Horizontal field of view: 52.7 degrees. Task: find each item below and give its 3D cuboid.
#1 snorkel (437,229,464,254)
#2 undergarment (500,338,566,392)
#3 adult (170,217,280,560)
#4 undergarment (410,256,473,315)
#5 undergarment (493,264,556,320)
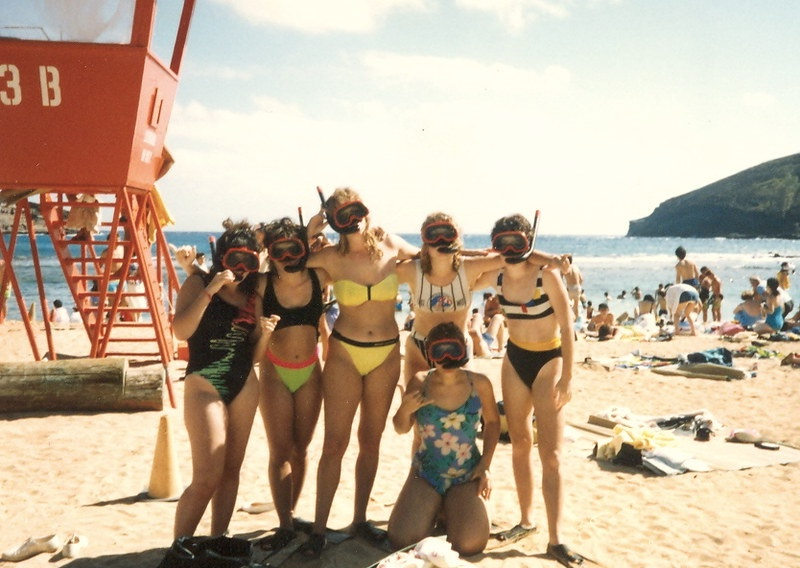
[{"bbox_3d":[0.627,-0.529,9.971,0.223,0.314,0.181,1,5,0],"label":"snorkel"},{"bbox_3d":[1.710,0.964,10.355,0.709,0.717,0.538,10,-1,11],"label":"undergarment"},{"bbox_3d":[-2.117,1.134,9.557,1.133,3.727,0.568,-2,2,-17],"label":"adult"},{"bbox_3d":[0.512,-0.157,10.364,0.974,0.935,0.532,-1,3,-3],"label":"undergarment"},{"bbox_3d":[1.642,0.003,10.372,0.971,1.007,0.526,-2,2,13],"label":"undergarment"}]
